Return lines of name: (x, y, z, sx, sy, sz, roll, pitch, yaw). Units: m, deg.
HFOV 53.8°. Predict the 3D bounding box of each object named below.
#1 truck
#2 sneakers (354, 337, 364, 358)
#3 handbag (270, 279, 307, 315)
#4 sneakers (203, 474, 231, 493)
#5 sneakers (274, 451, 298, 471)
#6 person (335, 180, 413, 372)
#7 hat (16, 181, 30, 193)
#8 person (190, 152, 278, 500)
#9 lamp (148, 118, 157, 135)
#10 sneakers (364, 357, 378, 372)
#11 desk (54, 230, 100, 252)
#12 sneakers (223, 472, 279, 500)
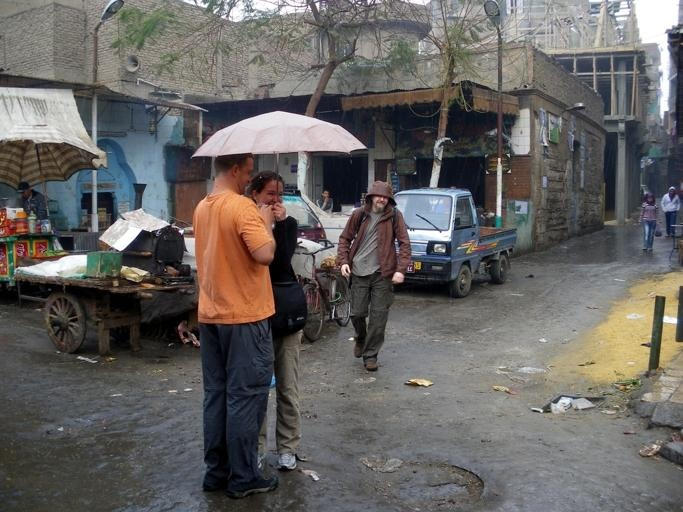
truck: (2.337, -0.323, 14.961, 1.737, 1.837, 3.119, 0, 2, 32)
sneakers: (0.219, 1.262, 9.137, 0.142, 0.247, 0.241, 1, -9, -1)
handbag: (-0.461, 0.382, 6.022, 0.395, 0.364, 0.227, 2, -15, -42)
sneakers: (-1.056, 1.901, 5.675, 0.197, 0.200, 0.122, 1, 0, -5)
sneakers: (-0.490, 1.808, 5.913, 0.133, 0.105, 0.260, 0, -7, -1)
person: (0.444, 0.233, 8.869, 0.785, 2.377, 0.869, -4, 9, -34)
hat: (-6.574, -1.443, 13.928, 0.196, 0.151, 0.273, -1, -2, -2)
person: (-0.863, 0.550, 5.575, 0.653, 2.779, 0.596, 0, 7, -13)
lamp: (-5.936, -4.096, 21.167, 0.206, 0.538, 0.376, -1, 8, -16)
sneakers: (0.380, 1.381, 8.716, 0.193, 0.156, 0.282, 2, 8, 3)
desk: (-5.963, -0.306, 15.324, 0.827, 0.444, 3.067, -2, 8, -22)
sneakers: (-0.734, 1.856, 5.632, 0.464, 0.219, 0.163, -10, 10, -32)
